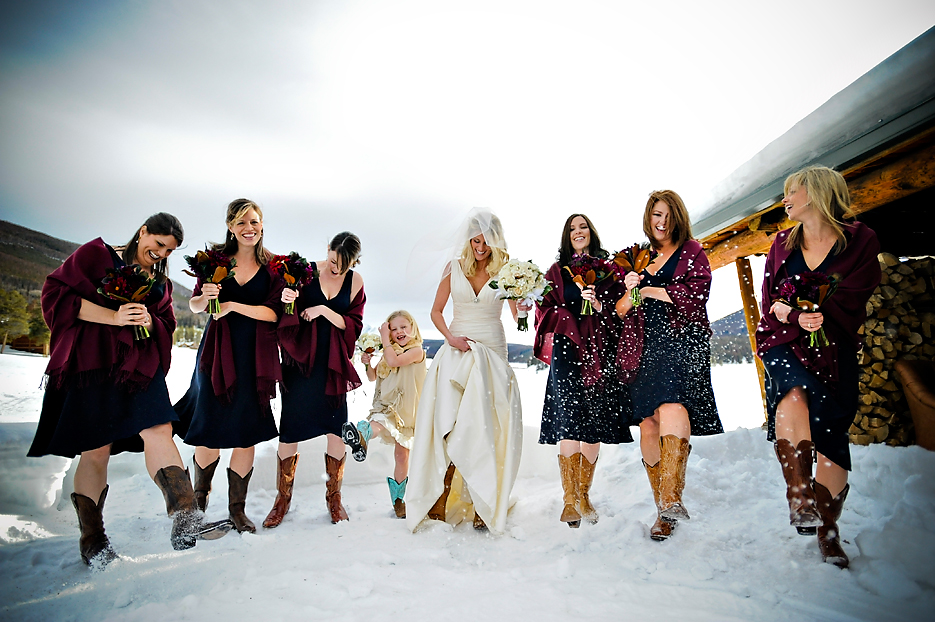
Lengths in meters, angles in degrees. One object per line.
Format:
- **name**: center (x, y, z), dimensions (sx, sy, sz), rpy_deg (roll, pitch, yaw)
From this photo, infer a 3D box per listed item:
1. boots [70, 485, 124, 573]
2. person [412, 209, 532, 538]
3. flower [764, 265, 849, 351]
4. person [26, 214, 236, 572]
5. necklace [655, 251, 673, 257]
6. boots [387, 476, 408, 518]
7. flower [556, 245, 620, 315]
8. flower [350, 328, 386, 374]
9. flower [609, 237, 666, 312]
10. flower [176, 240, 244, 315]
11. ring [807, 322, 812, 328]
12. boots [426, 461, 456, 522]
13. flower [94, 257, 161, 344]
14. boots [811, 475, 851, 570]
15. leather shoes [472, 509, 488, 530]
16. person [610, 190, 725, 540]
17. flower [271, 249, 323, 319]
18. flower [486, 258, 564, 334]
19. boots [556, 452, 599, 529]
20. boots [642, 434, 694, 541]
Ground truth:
- **boots**: center (-3.252, 1.937, 4.678), dimensions (0.624, 0.626, 0.308), rpy_deg (-18, -12, 36)
- **person**: center (-0.020, 0.568, 5.433), dimensions (1.122, 3.224, 1.003), rpy_deg (-1, 7, 4)
- **flower**: center (2.947, 0.031, 4.621), dimensions (0.561, 0.618, 0.609), rpy_deg (-18, 2, -36)
- **person**: center (-3.107, 0.658, 4.628), dimensions (1.276, 3.037, 0.835), rpy_deg (-5, 8, -28)
- **necklace**: center (1.931, -0.575, 5.218), dimensions (0.187, 0.035, 0.022), rpy_deg (-2, -11, 39)
- **boots**: center (-0.768, 2.027, 5.776), dimensions (0.139, 0.299, 0.304), rpy_deg (3, -1, -9)
- **flower**: center (1.232, -0.408, 5.410), dimensions (0.567, 0.596, 0.679), rpy_deg (5, 12, 15)
- **flower**: center (-1.205, 0.449, 6.420), dimensions (0.463, 0.475, 0.459), rpy_deg (14, 13, 36)
- **flower**: center (1.636, -0.378, 5.160), dimensions (0.438, 0.650, 0.501), rpy_deg (3, -9, -23)
- **flower**: center (-2.546, -0.371, 5.238), dimensions (0.492, 0.523, 0.546), rpy_deg (-17, -10, 35)
- **ring**: center (2.898, 0.115, 4.483), dimensions (0.045, 0.044, 0.013), rpy_deg (5, -2, 7)
- **boots**: center (-0.254, 1.876, 5.438), dimensions (0.186, 0.525, 0.381), rpy_deg (10, -15, -2)
- **flower**: center (-3.041, -0.083, 4.782), dimensions (0.518, 0.745, 0.294), rpy_deg (-6, 9, -31)
- **boots**: center (3.012, 1.756, 4.378), dimensions (0.257, 0.550, 0.462), rpy_deg (3, 9, 33)
- **leather shoes**: center (0.118, 2.129, 5.334), dimensions (0.118, 0.164, 0.058), rpy_deg (5, -15, 5)
- **person**: center (1.905, 0.408, 5.021), dimensions (0.864, 3.149, 1.055), rpy_deg (-3, 8, -10)
- **flower**: center (-1.802, -0.256, 5.507), dimensions (0.489, 0.511, 0.405), rpy_deg (23, -14, 24)
- **flower**: center (0.529, -0.157, 5.372), dimensions (0.629, 0.765, 0.340), rpy_deg (-1, 7, 3)
- **boots**: center (1.072, 1.736, 5.162), dimensions (0.491, 0.682, 0.300), rpy_deg (-5, 8, -28)
- **boots**: center (1.835, 1.585, 4.789), dimensions (0.305, 0.884, 0.464), rpy_deg (2, 8, 23)
